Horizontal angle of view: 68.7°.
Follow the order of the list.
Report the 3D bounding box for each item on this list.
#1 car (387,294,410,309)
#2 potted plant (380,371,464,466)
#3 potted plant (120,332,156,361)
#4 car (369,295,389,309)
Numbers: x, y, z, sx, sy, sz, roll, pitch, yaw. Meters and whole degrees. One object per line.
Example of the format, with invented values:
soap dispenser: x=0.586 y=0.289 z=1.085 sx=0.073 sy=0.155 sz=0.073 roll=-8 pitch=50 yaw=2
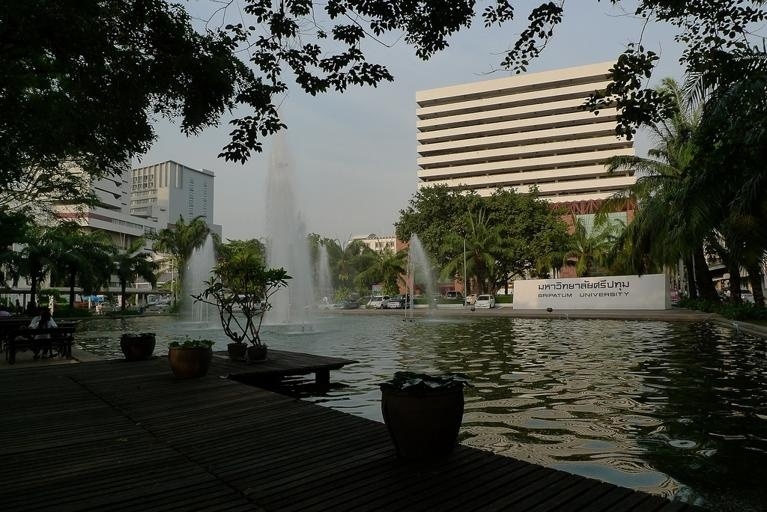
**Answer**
car: x=1.608 y=4.736 z=57.238 sx=2.322 sy=1.107 sz=1.411 roll=2 pitch=-9 yaw=-5
potted plant: x=0.534 y=2.391 z=8.467 sx=1.203 sy=0.991 sz=1.186 roll=1 pitch=-7 yaw=-3
potted plant: x=-6.655 y=2.467 z=15.360 sx=0.841 sy=0.615 sz=0.836 roll=-1 pitch=-11 yaw=3
car: x=-0.306 y=5.081 z=59.972 sx=1.112 sy=0.903 sz=1.925 roll=-6 pitch=-11 yaw=30
